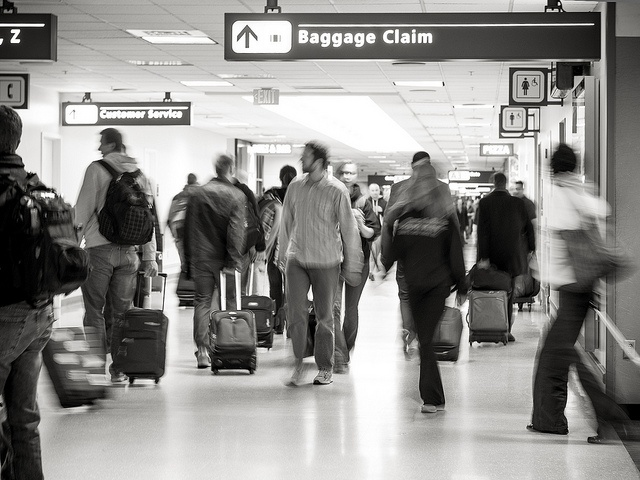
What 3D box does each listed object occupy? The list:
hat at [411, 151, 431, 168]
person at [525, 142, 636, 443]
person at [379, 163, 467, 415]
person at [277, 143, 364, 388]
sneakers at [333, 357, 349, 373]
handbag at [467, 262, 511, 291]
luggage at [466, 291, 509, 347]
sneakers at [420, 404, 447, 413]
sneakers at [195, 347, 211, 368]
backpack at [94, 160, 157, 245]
[{"bbox_3d":[0.793,-0.633,4.661,0.123,0.145,0.130,0,8,-10],"label":"hat"},{"bbox_3d":[1.737,0.337,4.017,0.598,2.120,0.253,0,0,26],"label":"person"},{"bbox_3d":[0.803,0.354,4.584,0.664,1.854,0.364,0,0,14],"label":"person"},{"bbox_3d":[0.013,0.219,5.415,0.768,1.986,0.315,0,0,-6],"label":"person"},{"bbox_3d":[0.213,1.293,6.011,0.131,0.060,0.137,28,-8,31],"label":"sneakers"},{"bbox_3d":[2.204,0.483,7.650,0.573,0.478,0.255,2,-24,10],"label":"handbag"},{"bbox_3d":[2.175,1.041,7.596,0.521,0.787,0.412,-1,-34,17],"label":"luggage"},{"bbox_3d":[0.885,1.295,4.582,0.187,0.083,0.068,7,-1,-18],"label":"sneakers"},{"bbox_3d":[-1.215,1.231,6.149,0.103,0.302,0.129,1,40,-2],"label":"sneakers"},{"bbox_3d":[-1.667,-0.252,5.060,0.693,0.740,0.483,16,10,42],"label":"backpack"}]
